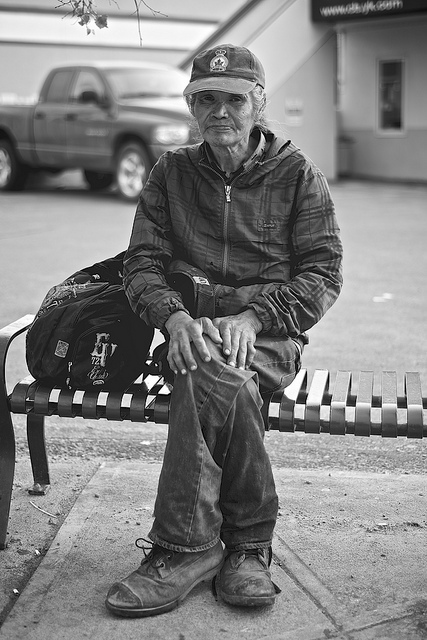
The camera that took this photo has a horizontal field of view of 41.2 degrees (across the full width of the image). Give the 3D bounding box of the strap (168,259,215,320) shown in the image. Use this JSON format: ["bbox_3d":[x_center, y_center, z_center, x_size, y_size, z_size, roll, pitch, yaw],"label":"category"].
[{"bbox_3d":[-0.053,-0.092,1.907,0.195,0.195,0.138,3,-6,18],"label":"strap"}]

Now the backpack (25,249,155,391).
[{"bbox_3d":[-0.429,-0.019,1.968,0.323,0.541,0.411,19,1,-34],"label":"backpack"}]

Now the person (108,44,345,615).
[{"bbox_3d":[0.083,-0.088,1.643,0.669,1.557,0.782,0,4,-3],"label":"person"}]

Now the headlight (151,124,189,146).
[{"bbox_3d":[-0.765,-3.252,9.976,0.649,0.385,0.103,0,4,-8],"label":"headlight"}]

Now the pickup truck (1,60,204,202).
[{"bbox_3d":[-2.188,-3.745,11.220,4.411,2.940,1.175,3,4,31],"label":"pickup truck"}]
